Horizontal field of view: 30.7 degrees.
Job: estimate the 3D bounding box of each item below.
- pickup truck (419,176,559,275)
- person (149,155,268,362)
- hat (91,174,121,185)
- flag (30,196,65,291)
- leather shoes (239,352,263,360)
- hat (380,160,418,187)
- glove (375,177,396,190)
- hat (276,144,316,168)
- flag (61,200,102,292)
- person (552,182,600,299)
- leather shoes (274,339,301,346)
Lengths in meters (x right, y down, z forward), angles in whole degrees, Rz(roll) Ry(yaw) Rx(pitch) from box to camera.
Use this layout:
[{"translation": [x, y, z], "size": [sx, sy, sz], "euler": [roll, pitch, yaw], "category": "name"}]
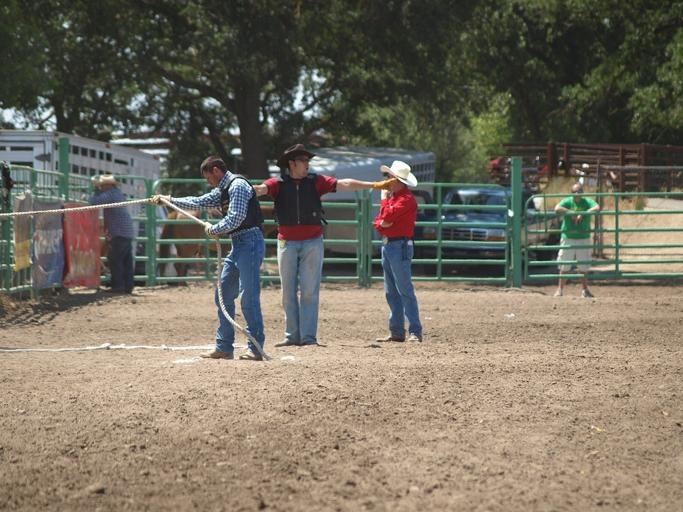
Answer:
[{"translation": [3.282, -0.522, 28.473], "size": [3.149, 2.146, 3.580], "euler": [1, 3, 10], "category": "pickup truck"}, {"translation": [-1.923, 0.043, 20.872], "size": [1.229, 3.375, 0.746], "euler": [1, 3, 27], "category": "person"}, {"translation": [-4.892, -1.541, 25.712], "size": [0.508, 0.179, 0.345], "euler": [1, 3, 7], "category": "hat"}, {"translation": [-5.748, -0.100, 24.556], "size": [0.361, 1.440, 1.222], "euler": [1, 3, 9], "category": "flag"}, {"translation": [-1.501, 1.698, 20.849], "size": [0.407, 0.199, 0.156], "euler": [0, -7, 8], "category": "leather shoes"}, {"translation": [1.025, -1.363, 21.916], "size": [0.530, 0.219, 0.510], "euler": [34, 13, 6], "category": "hat"}, {"translation": [0.742, -1.240, 21.907], "size": [0.203, 0.102, 0.274], "euler": [-8, -5, -42], "category": "glove"}, {"translation": [-0.790, -1.700, 21.498], "size": [0.607, 0.418, 0.611], "euler": [0, 3, -2], "category": "hat"}, {"translation": [-5.278, -0.223, 25.256], "size": [0.155, 2.192, 1.754], "euler": [1, 1, 21], "category": "flag"}, {"translation": [4.963, -0.340, 26.368], "size": [0.885, 2.350, 1.481], "euler": [1, 3, 11], "category": "person"}, {"translation": [-0.930, 1.530, 21.674], "size": [0.443, 0.220, 0.161], "euler": [2, -4, 4], "category": "leather shoes"}]
